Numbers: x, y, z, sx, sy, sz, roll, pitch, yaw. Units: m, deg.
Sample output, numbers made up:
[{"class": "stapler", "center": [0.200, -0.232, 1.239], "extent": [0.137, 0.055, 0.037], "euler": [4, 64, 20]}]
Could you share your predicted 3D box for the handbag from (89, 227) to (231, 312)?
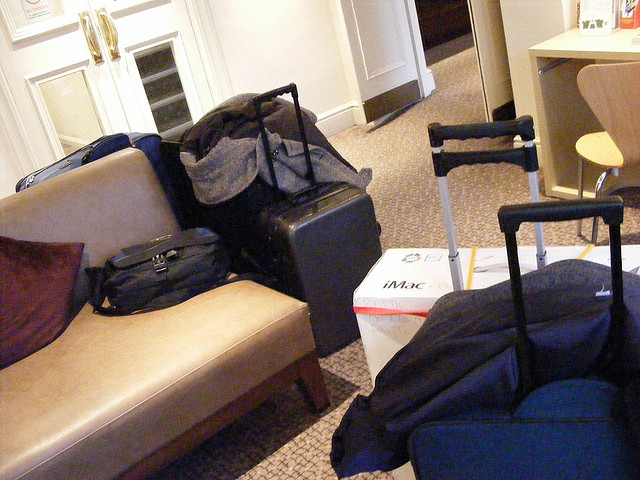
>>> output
[{"class": "handbag", "center": [-0.572, 0.147, 1.912], "extent": [0.408, 0.128, 0.285], "euler": [-16, 29, -14]}]

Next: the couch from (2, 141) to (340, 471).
[{"class": "couch", "center": [-0.606, 0.381, 2.033], "extent": [1.115, 0.880, 1.058], "euler": [-27, 40, -31]}]

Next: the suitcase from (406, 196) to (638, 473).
[{"class": "suitcase", "center": [0.329, 0.154, 0.922], "extent": [0.360, 0.452, 0.280], "euler": [-4, 27, 19]}]

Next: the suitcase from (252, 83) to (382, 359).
[{"class": "suitcase", "center": [-0.046, -0.097, 2.042], "extent": [0.451, 0.981, 0.380], "euler": [-20, 35, -17]}]
